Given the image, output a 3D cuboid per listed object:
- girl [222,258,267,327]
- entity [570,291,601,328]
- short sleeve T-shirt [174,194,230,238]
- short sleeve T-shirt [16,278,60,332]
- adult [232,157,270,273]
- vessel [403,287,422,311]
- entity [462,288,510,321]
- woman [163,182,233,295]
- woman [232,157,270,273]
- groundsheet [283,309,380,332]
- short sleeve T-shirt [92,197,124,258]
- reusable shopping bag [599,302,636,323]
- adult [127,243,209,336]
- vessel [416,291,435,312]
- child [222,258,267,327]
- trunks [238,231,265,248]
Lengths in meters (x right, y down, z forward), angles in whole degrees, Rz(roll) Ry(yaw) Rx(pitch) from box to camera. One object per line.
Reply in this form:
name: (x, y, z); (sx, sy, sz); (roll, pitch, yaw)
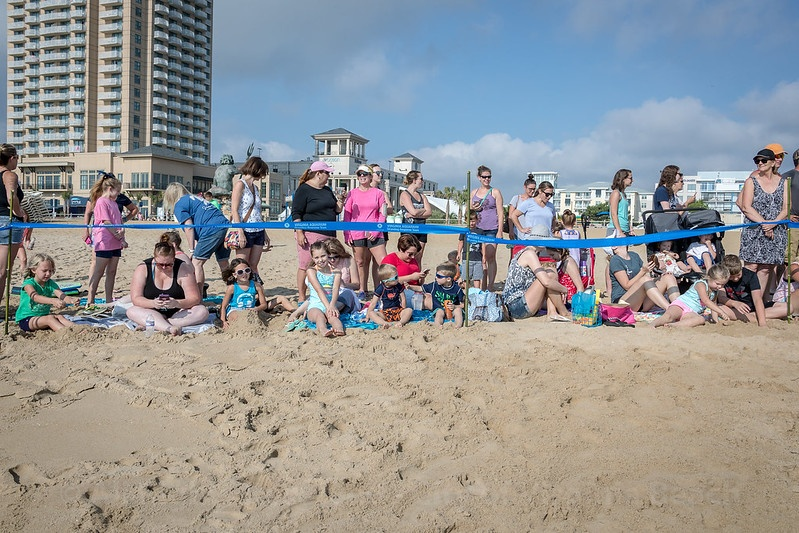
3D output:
girl: (-1.959, 0.300, 9.537); (0.465, 0.774, 0.780); (1, 4, 5)
entity: (2.288, 0.507, 9.300); (0.363, 0.413, 0.318); (2, 4, 14)
short sleeve T-shirt: (-2.586, -0.680, 9.939); (0.625, 0.569, 0.238); (34, -30, 11)
short sleeve T-shirt: (-4.345, 0.375, 9.195); (0.475, 0.509, 0.269); (-2, 5, -37)
adult: (-1.979, -0.658, 10.149); (0.481, 1.579, 1.446); (0, 4, -10)
vessel: (0.133, 0.428, 9.748); (0.176, 0.279, 0.277); (1, -9, -13)
entity: (1.124, 0.462, 9.664); (0.370, 0.200, 0.465); (4, 5, 18)
woman: (-2.654, -0.334, 10.084); (0.870, 1.456, 0.491); (-7, 0, -4)
woman: (-1.981, -0.658, 10.156); (0.481, 1.579, 1.425); (0, 4, -10)
groundsheet: (-0.816, 0.663, 9.324); (1.087, 0.154, 0.670); (0, 5, -8)
short sleeve T-shirt: (-3.816, -0.519, 10.039); (0.375, 0.765, 0.646); (0, 4, -21)
reusable shopping bag: (2.723, 0.585, 9.499); (0.435, 0.188, 0.568); (2, 5, 16)
adult: (-2.764, 0.193, 9.163); (0.916, 1.086, 0.797); (12, 20, 22)
vessel: (0.321, 0.441, 9.603); (0.235, 0.235, 0.179); (-27, 31, -22)
child: (-1.968, 0.299, 9.548); (0.455, 0.774, 0.780); (2, 4, 7)
trunks: (-1.952, -0.362, 10.158); (0.180, 0.286, 0.316); (2, 5, 35)
